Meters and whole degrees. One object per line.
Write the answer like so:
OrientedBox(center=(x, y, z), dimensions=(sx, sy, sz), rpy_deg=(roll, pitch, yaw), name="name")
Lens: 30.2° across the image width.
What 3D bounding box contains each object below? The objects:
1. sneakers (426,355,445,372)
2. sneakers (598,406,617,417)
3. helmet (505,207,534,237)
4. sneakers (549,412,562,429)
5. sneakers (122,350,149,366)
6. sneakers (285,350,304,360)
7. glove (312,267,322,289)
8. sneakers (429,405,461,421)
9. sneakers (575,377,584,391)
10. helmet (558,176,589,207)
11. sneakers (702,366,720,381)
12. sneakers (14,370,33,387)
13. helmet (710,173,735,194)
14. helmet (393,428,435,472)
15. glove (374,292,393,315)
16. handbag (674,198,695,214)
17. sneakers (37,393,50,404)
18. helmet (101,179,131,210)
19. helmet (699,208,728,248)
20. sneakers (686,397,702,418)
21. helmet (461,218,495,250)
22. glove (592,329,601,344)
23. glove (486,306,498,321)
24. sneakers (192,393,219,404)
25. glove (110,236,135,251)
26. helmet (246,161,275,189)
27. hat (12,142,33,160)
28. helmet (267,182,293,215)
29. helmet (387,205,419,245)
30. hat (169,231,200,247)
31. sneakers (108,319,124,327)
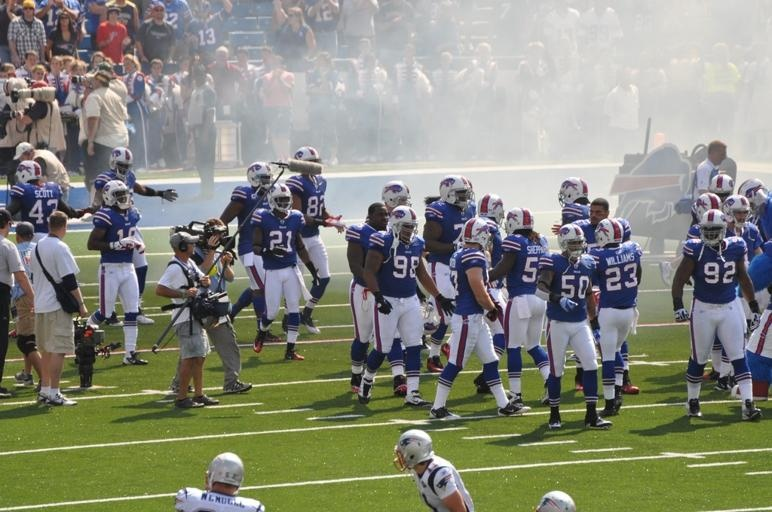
OrientedBox(center=(0.733, 1.558, 21.314), dimensions=(0.224, 0.266, 0.351), rpy_deg=(-1, 3, 3), name="sneakers")
OrientedBox(center=(3.046, 2.091, 19.498), dimensions=(0.275, 0.126, 0.110), rpy_deg=(0, 4, -22), name="sneakers")
OrientedBox(center=(1.842, -0.489, 19.787), dimensions=(0.291, 0.368, 0.367), rpy_deg=(-4, 12, -38), name="helmet")
OrientedBox(center=(2.278, 2.179, 19.223), dimensions=(0.185, 0.242, 0.503), rpy_deg=(0, -4, 3), name="sneakers")
OrientedBox(center=(-3.741, 1.506, 21.609), dimensions=(0.462, 0.308, 0.163), rpy_deg=(-1, 23, -7), name="sneakers")
OrientedBox(center=(-1.394, 1.475, 21.757), dimensions=(0.314, 0.143, 0.117), rpy_deg=(3, 14, -13), name="sneakers")
OrientedBox(center=(-1.089, 0.325, 22.306), dimensions=(0.078, 0.208, 0.266), rpy_deg=(-37, -13, -1), name="glove")
OrientedBox(center=(0.792, 2.101, 19.494), dimensions=(0.436, 0.185, 0.151), rpy_deg=(0, 25, -12), name="sneakers")
OrientedBox(center=(2.770, 1.810, 20.521), dimensions=(0.080, 0.177, 0.319), rpy_deg=(-2, 3, -12), name="sneakers")
OrientedBox(center=(2.771, -0.965, 21.306), dimensions=(0.450, 0.436, 0.357), rpy_deg=(5, 6, 23), name="helmet")
OrientedBox(center=(4.737, 1.690, 20.830), dimensions=(0.186, 0.184, 0.684), rpy_deg=(-1, 3, 5), name="sneakers")
OrientedBox(center=(-5.266, 1.754, 20.831), dimensions=(0.362, 0.216, 0.141), rpy_deg=(10, 10, 23), name="sneakers")
OrientedBox(center=(5.014, -1.103, 21.254), dimensions=(0.249, 0.270, 0.343), rpy_deg=(11, 41, 15), name="helmet")
OrientedBox(center=(0.310, 2.221, 16.734), dimensions=(0.477, 0.415, 0.378), rpy_deg=(-3, 7, 28), name="helmet")
OrientedBox(center=(-0.045, 0.624, 19.619), dimensions=(0.086, 0.293, 0.219), rpy_deg=(-29, 19, 15), name="glove")
OrientedBox(center=(5.396, -0.919, 25.746), dimensions=(0.362, 0.272, 0.620), rpy_deg=(-2, -1, 2), name="handbag")
OrientedBox(center=(-4.773, 1.966, 19.907), dimensions=(0.096, 0.139, 0.119), rpy_deg=(14, 17, 12), name="sneakers")
OrientedBox(center=(-4.018, -0.935, 21.599), dimensions=(0.442, 0.395, 0.328), rpy_deg=(6, 6, 28), name="helmet")
OrientedBox(center=(4.432, -0.398, 19.341), dimensions=(0.317, 0.462, 0.473), rpy_deg=(0, 0, 15), name="helmet")
OrientedBox(center=(4.220, 2.041, 19.528), dimensions=(0.119, 0.142, 0.326), rpy_deg=(-4, 25, 8), name="sneakers")
OrientedBox(center=(1.281, -0.346, 19.527), dimensions=(0.460, 0.415, 0.340), rpy_deg=(-8, 22, -26), name="helmet")
OrientedBox(center=(3.007, 1.114, 20.410), dimensions=(0.098, 0.356, 0.135), rpy_deg=(-5, 0, 1), name="glove")
OrientedBox(center=(1.450, 0.750, 19.290), dimensions=(0.136, 0.120, 0.181), rpy_deg=(3, -33, -20), name="glove")
OrientedBox(center=(-2.521, 1.988, 20.017), dimensions=(0.377, 0.168, 0.139), rpy_deg=(6, 7, -11), name="sneakers")
OrientedBox(center=(-3.989, -0.204, 21.617), dimensions=(0.382, 0.181, 0.154), rpy_deg=(-2, 3, -11), name="glove")
OrientedBox(center=(-1.961, -1.282, 22.287), dimensions=(0.416, 0.367, 0.329), rpy_deg=(4, 7, 41), name="helmet")
OrientedBox(center=(-5.972, -1.675, 23.425), dimensions=(0.429, 0.264, 0.316), rpy_deg=(-8, 14, -13), name="hat")
OrientedBox(center=(-1.585, -0.879, 21.430), dimensions=(0.341, 0.419, 0.421), rpy_deg=(-1, 5, -34), name="helmet")
OrientedBox(center=(0.221, -0.491, 19.946), dimensions=(0.457, 0.504, 0.371), rpy_deg=(0, 4, 27), name="helmet")
OrientedBox(center=(-2.792, -0.275, 19.726), dimensions=(0.307, 0.177, 0.207), rpy_deg=(-10, 27, -17), name="hat")
OrientedBox(center=(-4.390, 1.059, 23.275), dimensions=(0.268, 0.127, 0.102), rpy_deg=(-1, 11, -2), name="sneakers")
